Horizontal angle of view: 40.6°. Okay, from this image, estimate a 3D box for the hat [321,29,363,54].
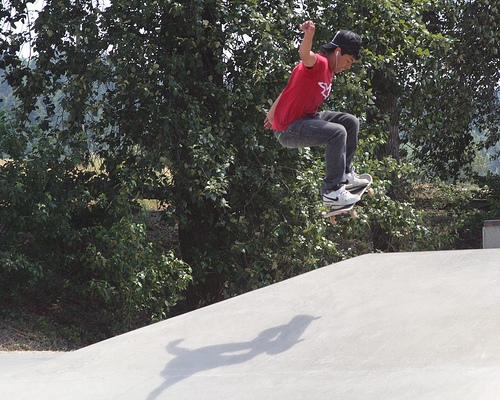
[{"bbox_3d":[1.135,-1.904,8.134,0.377,0.224,0.273,15,21,4],"label":"hat"}]

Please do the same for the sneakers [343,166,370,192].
[{"bbox_3d":[1.343,-0.297,8.796,0.493,0.260,0.179,-13,27,9],"label":"sneakers"}]

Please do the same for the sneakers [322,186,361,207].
[{"bbox_3d":[1.150,-0.036,8.645,0.504,0.288,0.215,-6,16,15],"label":"sneakers"}]
